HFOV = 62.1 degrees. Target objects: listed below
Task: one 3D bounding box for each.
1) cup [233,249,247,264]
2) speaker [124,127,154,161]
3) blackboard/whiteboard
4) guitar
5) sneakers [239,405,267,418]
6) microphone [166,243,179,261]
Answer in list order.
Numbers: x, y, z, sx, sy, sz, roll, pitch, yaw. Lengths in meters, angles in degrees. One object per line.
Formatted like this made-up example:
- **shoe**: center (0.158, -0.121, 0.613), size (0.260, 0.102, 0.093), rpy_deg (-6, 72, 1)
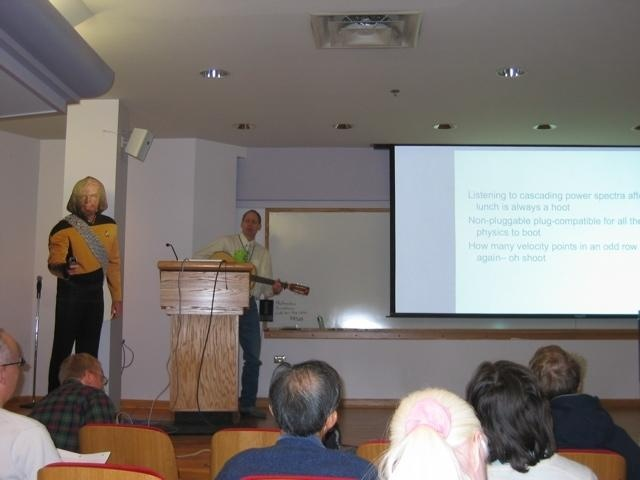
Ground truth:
- **cup**: center (-0.736, 0.149, 4.944), size (0.103, 0.139, 0.118), rpy_deg (1, 7, -10)
- **speaker**: center (-1.557, -0.848, 4.705), size (0.152, 0.227, 0.148), rpy_deg (0, 9, -40)
- **blackboard/whiteboard**: center (0.983, 0.378, 6.396), size (3.388, 1.609, 0.359), rpy_deg (0, -7, 2)
- **guitar**: center (-0.558, 0.378, 5.383), size (0.944, 0.406, 0.143), rpy_deg (20, -15, -14)
- **sneakers**: center (-0.663, 1.727, 5.371), size (0.291, 0.133, 0.107), rpy_deg (2, 0, -5)
- **microphone**: center (-1.761, 0.132, 6.328), size (0.176, 0.212, 0.159), rpy_deg (2, -8, -8)
